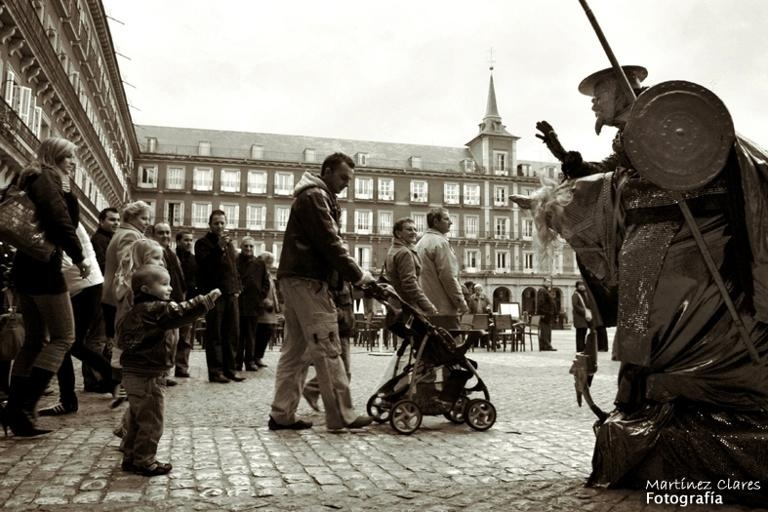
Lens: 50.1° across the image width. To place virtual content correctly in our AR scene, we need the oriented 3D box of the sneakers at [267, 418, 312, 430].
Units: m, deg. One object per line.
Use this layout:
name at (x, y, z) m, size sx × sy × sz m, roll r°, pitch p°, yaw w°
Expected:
sneakers at (-0.974, 1.698, 8.442) m, size 0.447 × 0.183 × 0.159 m, roll 1°, pitch -3°, yaw -15°

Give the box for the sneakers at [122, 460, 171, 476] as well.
sneakers at (-1.979, 1.770, 6.884) m, size 0.413 × 0.184 × 0.145 m, roll 0°, pitch -2°, yaw -13°
